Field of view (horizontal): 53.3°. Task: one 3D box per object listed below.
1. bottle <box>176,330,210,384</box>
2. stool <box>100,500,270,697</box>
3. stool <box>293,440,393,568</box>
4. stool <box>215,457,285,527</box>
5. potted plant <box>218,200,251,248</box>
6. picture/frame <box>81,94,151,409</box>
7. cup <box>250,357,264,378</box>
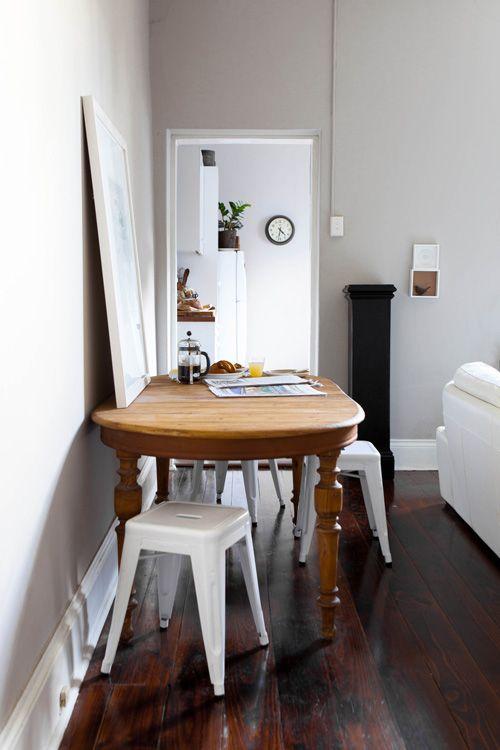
[{"bbox_3d":[-0.220,-0.077,1.985,0.103,0.216,0.088,0,26,-5],"label":"bottle"},{"bbox_3d":[-0.148,0.546,1.256,0.385,0.450,0.452,0,6,-19],"label":"stool"},{"bbox_3d":[0.381,0.443,1.986,0.350,0.576,0.426,-1,-3,2],"label":"stool"},{"bbox_3d":[0.061,0.546,2.398,0.172,0.204,0.270,0,50,-13],"label":"stool"},{"bbox_3d":[-0.224,-1.645,5.678,0.315,0.623,0.336,2,-12,-5],"label":"potted plant"},{"bbox_3d":[-0.437,-0.411,1.701,0.145,0.994,0.626,0,2,-8],"label":"picture/frame"},{"bbox_3d":[0.031,-0.031,2.099,0.056,0.089,0.063,0,7,-5],"label":"cup"}]
